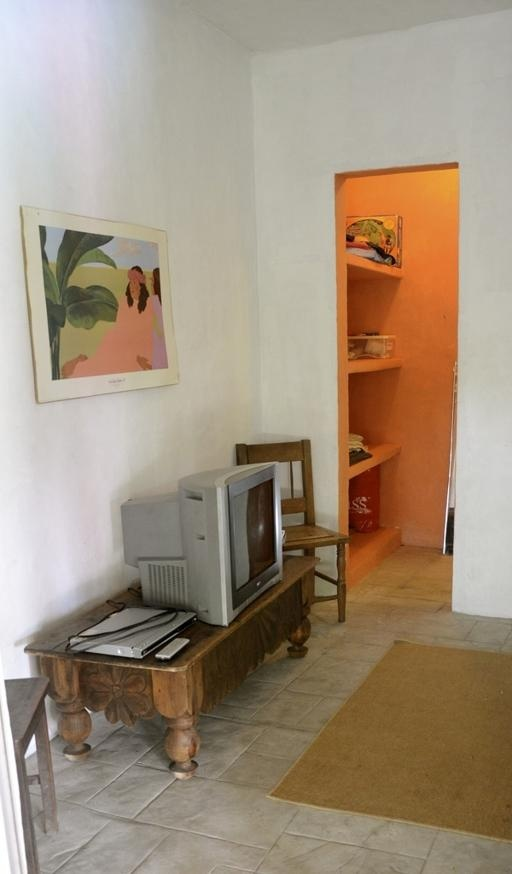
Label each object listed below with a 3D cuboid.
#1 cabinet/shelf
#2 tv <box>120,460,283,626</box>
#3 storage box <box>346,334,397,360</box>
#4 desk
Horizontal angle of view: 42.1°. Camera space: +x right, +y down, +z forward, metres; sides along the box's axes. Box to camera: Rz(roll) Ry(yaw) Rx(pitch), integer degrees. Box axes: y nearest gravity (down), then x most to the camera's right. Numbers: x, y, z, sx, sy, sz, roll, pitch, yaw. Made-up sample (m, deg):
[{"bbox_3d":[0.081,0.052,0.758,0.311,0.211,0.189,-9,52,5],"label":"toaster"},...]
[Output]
[{"bbox_3d":[0.772,-0.137,4.373,0.401,1.914,0.837,-2,2,13],"label":"cabinet/shelf"},{"bbox_3d":[-0.204,0.294,2.366,0.477,0.507,0.517,1,7,19],"label":"tv"},{"bbox_3d":[0.771,-0.597,4.394,0.448,0.167,0.186,-3,2,-21],"label":"storage box"},{"bbox_3d":[-0.265,0.797,2.387,0.594,0.472,1.037,-2,2,25],"label":"desk"}]
